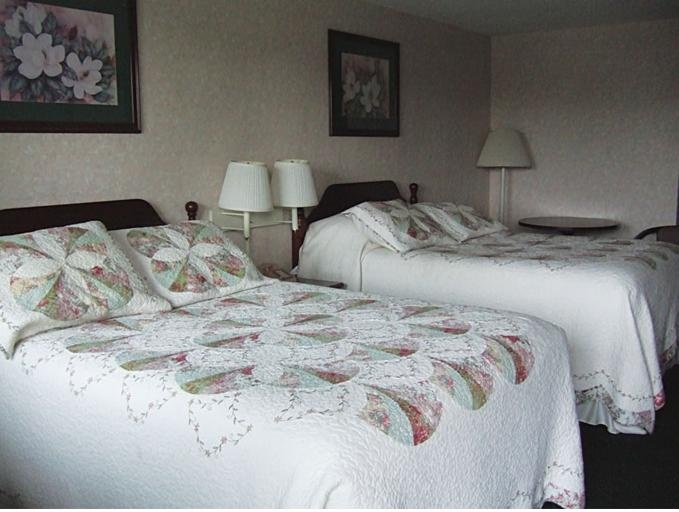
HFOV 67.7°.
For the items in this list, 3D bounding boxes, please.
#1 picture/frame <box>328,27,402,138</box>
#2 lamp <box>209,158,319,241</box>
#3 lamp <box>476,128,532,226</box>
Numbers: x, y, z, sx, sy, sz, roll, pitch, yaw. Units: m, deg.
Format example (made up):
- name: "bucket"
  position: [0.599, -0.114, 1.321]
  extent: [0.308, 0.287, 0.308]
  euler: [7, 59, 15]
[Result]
- name: "picture/frame"
  position: [0.184, -1.436, 4.137]
  extent: [0.047, 1.010, 1.074]
  euler: [2, 1, 40]
- name: "lamp"
  position: [-0.523, -0.384, 3.358]
  extent: [0.309, 0.552, 0.575]
  euler: [4, 8, 42]
- name: "lamp"
  position: [1.768, -0.666, 5.548]
  extent: [0.593, 1.344, 0.579]
  euler: [3, 9, 16]
